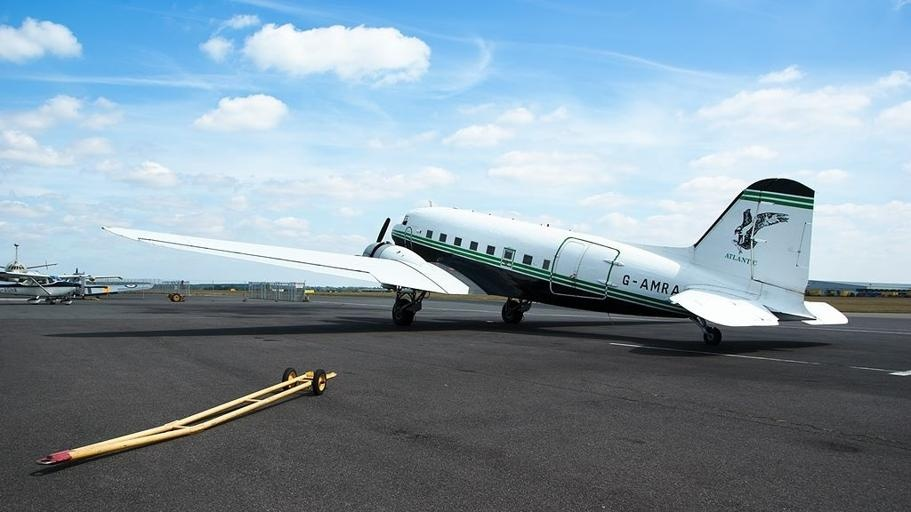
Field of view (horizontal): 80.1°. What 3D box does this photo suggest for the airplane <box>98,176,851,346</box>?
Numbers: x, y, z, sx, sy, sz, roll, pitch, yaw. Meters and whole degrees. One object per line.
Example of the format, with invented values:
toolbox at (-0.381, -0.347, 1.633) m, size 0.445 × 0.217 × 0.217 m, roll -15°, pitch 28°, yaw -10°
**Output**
airplane at (5.111, 0.456, 22.298) m, size 18.169 × 3.037 × 11.336 m, roll 2°, pitch 3°, yaw -38°
